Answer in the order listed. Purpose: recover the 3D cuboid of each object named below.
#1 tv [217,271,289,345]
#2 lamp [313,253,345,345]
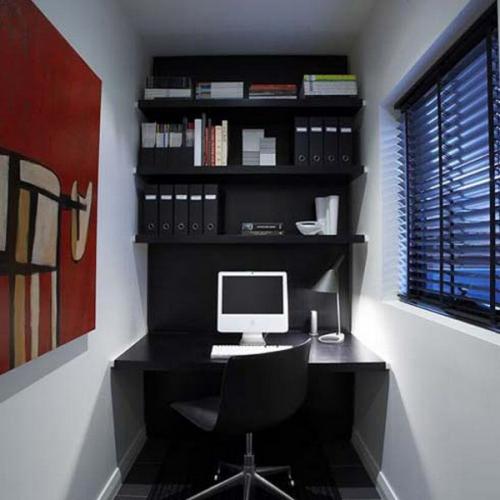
[{"bbox_3d":[0.014,0.323,2.644,0.261,0.361,0.111,0,-22,0],"label":"tv"},{"bbox_3d":[0.474,0.274,2.743,0.148,0.467,0.423,-1,2,12],"label":"lamp"}]
